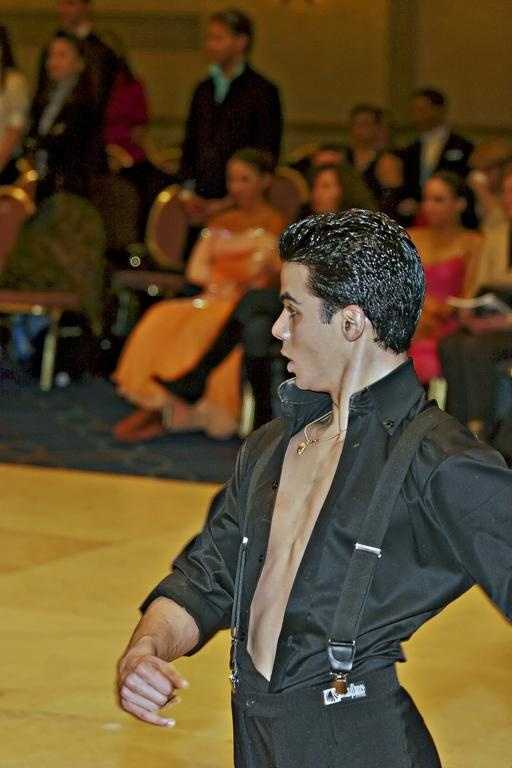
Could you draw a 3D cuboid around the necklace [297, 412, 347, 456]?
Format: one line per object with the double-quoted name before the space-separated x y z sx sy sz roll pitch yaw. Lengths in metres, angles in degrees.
"necklace" 0.083 0.057 0.927 0.062 0.007 0.043 -38 42 -26
